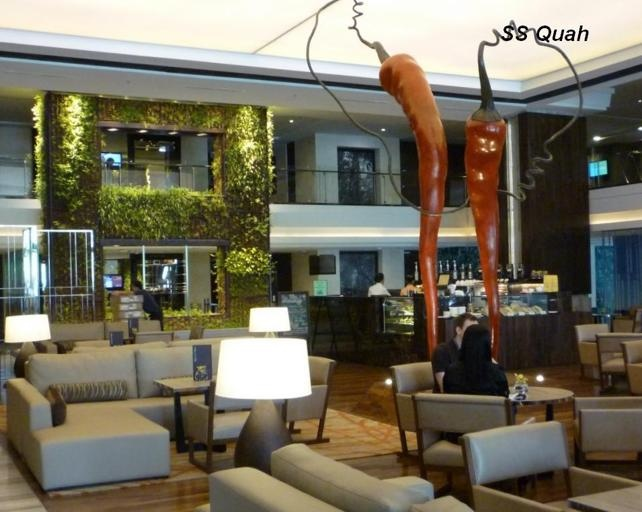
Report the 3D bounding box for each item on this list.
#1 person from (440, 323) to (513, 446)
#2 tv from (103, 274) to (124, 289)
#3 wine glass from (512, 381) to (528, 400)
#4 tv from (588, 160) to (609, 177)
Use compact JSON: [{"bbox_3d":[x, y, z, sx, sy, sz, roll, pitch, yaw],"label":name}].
[{"bbox_3d":[1.292,1.058,5.065,0.472,1.213,0.281,-2,31,19],"label":"person"},{"bbox_3d":[-5.948,0.744,17.427,0.424,0.400,0.219,1,-5,-28],"label":"tv"},{"bbox_3d":[1.755,1.198,5.390,0.102,0.042,0.172,4,4,25],"label":"wine glass"},{"bbox_3d":[6.655,-2.043,14.704,0.346,0.534,0.476,0,0,-33],"label":"tv"}]
